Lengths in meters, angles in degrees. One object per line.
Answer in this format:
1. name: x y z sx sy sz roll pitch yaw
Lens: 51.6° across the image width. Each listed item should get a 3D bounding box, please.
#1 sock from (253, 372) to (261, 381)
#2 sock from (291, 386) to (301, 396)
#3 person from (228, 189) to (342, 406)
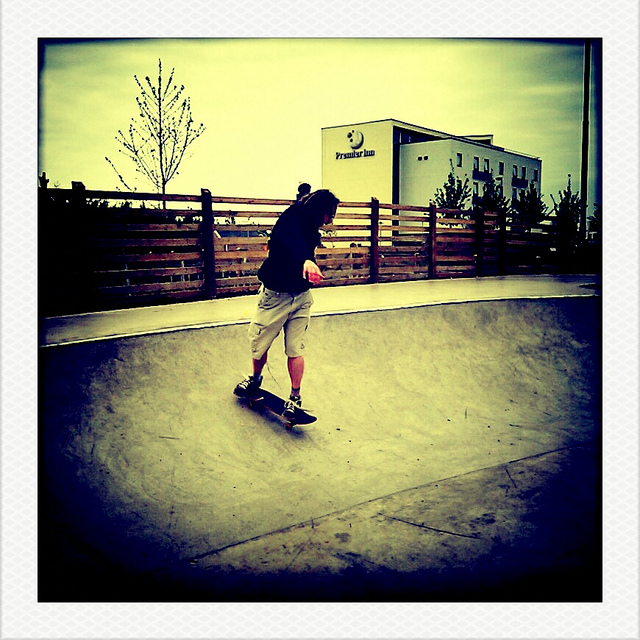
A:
1. sock: -0.581 0.523 6.132 0.070 0.081 0.043 1 6 -9
2. sock: -0.223 0.640 6.016 0.069 0.095 0.094 1 6 -9
3. person: -0.265 -0.187 5.952 0.801 1.918 0.368 1 5 -5
